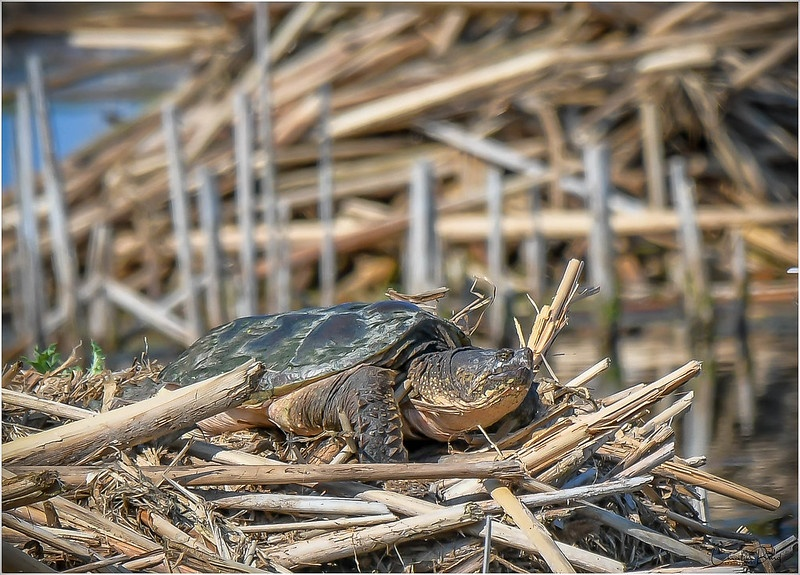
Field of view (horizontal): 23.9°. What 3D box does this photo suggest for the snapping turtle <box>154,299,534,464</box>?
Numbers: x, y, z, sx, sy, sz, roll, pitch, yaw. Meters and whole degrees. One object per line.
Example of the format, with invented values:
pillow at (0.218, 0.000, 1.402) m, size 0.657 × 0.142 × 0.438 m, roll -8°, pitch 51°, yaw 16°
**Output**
snapping turtle at (-0.341, 0.475, 10.915) m, size 1.801 × 0.464 × 1.035 m, roll 2°, pitch 9°, yaw 24°
